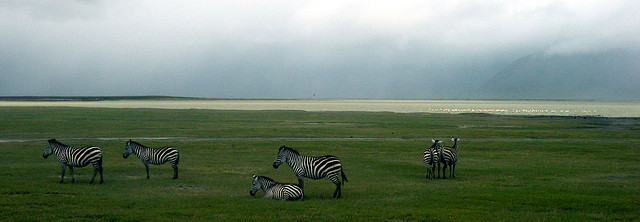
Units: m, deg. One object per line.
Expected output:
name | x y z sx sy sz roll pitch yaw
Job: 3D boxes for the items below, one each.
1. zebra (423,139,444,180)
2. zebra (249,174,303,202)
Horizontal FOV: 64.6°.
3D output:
zebra | 27.972 11.930 127.695 3.424 9.780 4.309 3 6 10
zebra | -10.065 18.689 122.350 14.497 4.219 4.340 4 2 22
